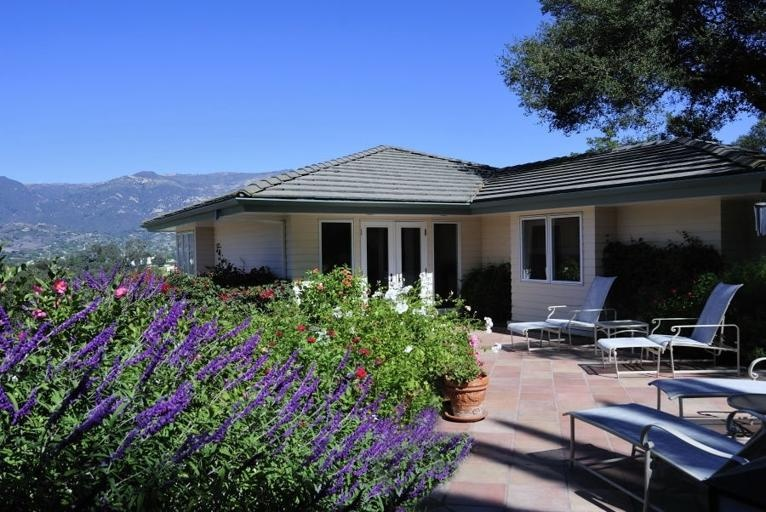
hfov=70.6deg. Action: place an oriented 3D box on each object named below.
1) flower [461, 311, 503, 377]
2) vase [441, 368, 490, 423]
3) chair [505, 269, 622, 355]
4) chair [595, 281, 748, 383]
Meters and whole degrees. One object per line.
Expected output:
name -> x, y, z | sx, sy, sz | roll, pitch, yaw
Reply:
flower -> 1.532, 1.375, 8.321 | 0.762, 0.789, 0.367 | 0, 16, -29
vase -> 0.973, 1.657, 6.364 | 0.572, 0.472, 0.564 | 4, -6, -44
chair -> 3.463, 1.092, 10.197 | 2.125, 1.380, 1.165 | 1, -3, -18
chair -> 4.246, 1.083, 8.120 | 2.213, 1.509, 1.345 | 1, -4, -6
